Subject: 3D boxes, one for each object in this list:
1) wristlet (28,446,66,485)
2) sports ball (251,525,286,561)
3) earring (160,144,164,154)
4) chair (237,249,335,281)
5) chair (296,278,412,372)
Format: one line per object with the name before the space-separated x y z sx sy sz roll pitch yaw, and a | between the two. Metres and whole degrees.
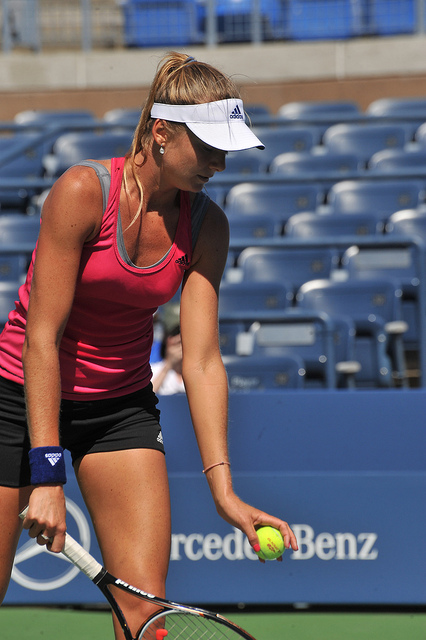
wristlet | -0.471 0.407 3.091 0.096 0.103 0.079 -2 14 -12
sports ball | 0.166 0.672 3.268 0.103 0.147 0.120 2 13 4
earring | -0.152 -0.502 3.199 0.007 0.026 0.023 -7 16 -32
chair | 0.440 -0.249 6.624 0.576 0.335 0.197 -1 2 9
chair | 0.782 0.049 6.037 0.567 0.598 0.526 -2 -7 5
